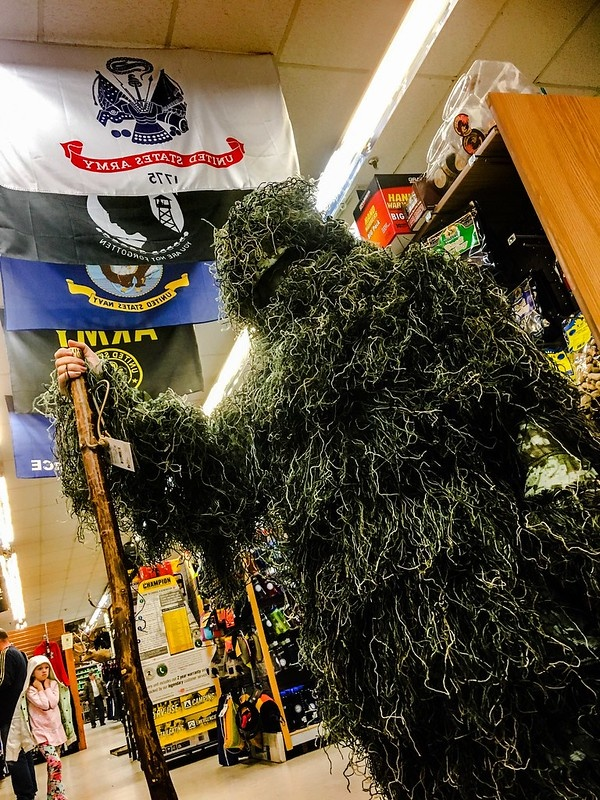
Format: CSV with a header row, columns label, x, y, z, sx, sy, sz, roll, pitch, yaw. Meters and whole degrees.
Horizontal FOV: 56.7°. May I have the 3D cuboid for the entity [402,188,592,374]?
label,x,y,z,sx,sy,sz,roll,pitch,yaw
entity,0.452,-0.257,1.229,0.144,0.434,0.418,-20,30,-6
